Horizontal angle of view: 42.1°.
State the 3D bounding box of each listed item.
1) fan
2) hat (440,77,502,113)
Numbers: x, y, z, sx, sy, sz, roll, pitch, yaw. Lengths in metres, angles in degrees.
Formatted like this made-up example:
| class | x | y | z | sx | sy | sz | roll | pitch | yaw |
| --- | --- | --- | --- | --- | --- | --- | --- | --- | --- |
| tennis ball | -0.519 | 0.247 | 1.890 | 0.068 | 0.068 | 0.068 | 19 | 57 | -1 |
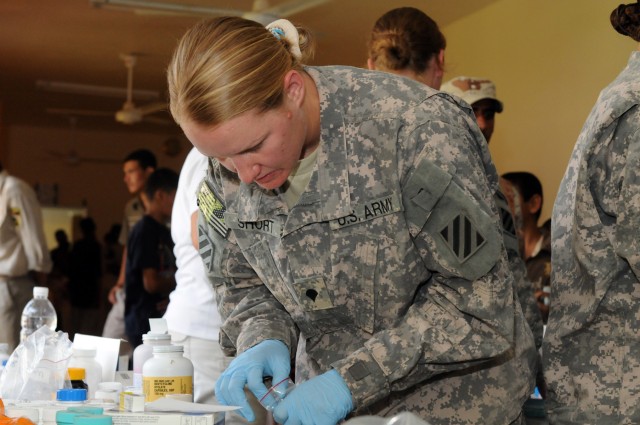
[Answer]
| class | x | y | z | sx | sy | sz | roll | pitch | yaw |
| --- | --- | --- | --- | --- | --- | --- | --- | --- | --- |
| fan | -1.241 | -0.669 | 4.737 | 0.577 | 0.266 | 0.429 | -2 | 5 | -18 |
| hat | 0.850 | -0.678 | 4.727 | 0.370 | 0.163 | 0.499 | 0 | 2 | -6 |
